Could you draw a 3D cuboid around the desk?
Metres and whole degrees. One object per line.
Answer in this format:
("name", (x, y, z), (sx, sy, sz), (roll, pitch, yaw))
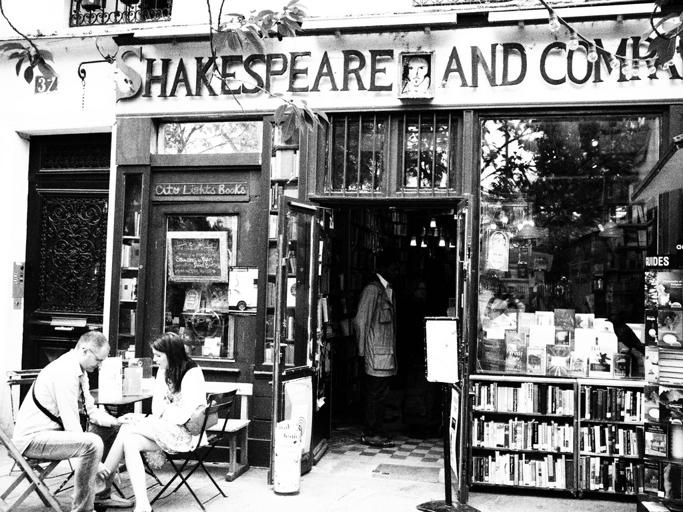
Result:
("desk", (-2.504, 1.962, 8.411), (0.838, 0.963, 0.899), (1, 0, 22))

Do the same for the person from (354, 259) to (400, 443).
("person", (0.457, 1.231, 10.370), (0.542, 2.406, 0.863), (1, -3, 2))

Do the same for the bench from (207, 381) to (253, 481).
("bench", (-1.233, 1.982, 8.731), (0.881, 0.995, 0.673), (-1, -3, 14))

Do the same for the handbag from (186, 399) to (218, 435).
("handbag", (-1.394, 1.626, 7.926), (0.320, 0.346, 0.272), (-3, -1, -1))

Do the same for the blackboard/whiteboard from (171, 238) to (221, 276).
("blackboard/whiteboard", (-1.783, 0.026, 9.494), (0.455, 0.507, 0.167), (3, -1, 16))

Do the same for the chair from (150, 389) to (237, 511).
("chair", (-1.476, 2.001, 8.422), (0.962, 1.565, 0.932), (2, -4, 8))

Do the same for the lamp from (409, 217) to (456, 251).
("lamp", (1.486, -0.379, 12.838), (0.770, 0.528, 0.442), (1, -4, 16))

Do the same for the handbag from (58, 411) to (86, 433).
("handbag", (-2.601, 1.597, 7.523), (0.224, 0.185, 0.109), (2, -3, -5))

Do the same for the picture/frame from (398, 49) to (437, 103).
("picture/frame", (0.885, -2.033, 8.920), (0.506, 0.780, 0.098), (-1, -15, 7))
